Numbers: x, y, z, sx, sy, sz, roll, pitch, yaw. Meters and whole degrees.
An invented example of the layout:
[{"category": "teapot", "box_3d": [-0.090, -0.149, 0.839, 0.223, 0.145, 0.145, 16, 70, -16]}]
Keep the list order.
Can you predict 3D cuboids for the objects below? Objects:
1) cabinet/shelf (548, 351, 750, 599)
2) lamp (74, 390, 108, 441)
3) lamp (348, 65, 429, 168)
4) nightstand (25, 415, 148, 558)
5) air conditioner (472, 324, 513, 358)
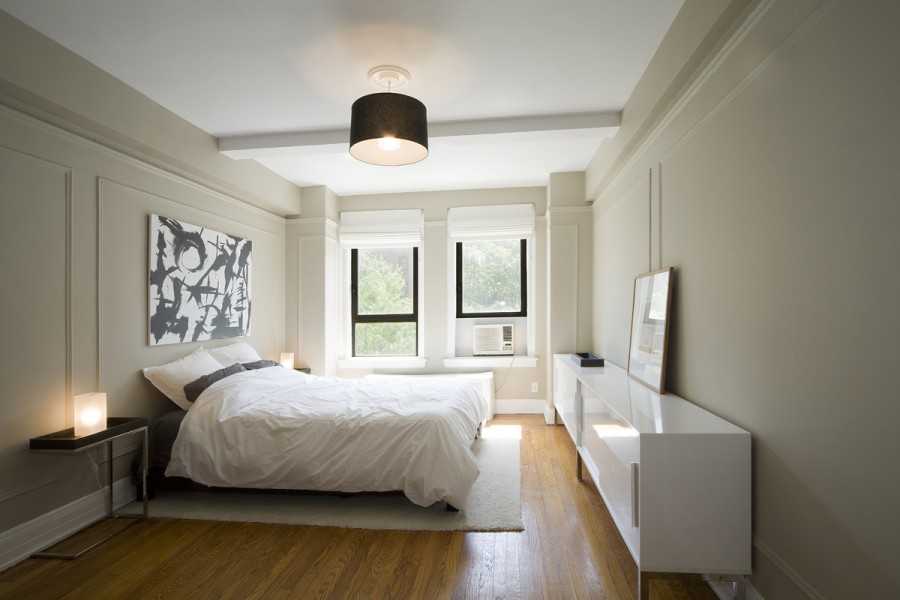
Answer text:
[{"category": "cabinet/shelf", "box_3d": [1.314, 1.121, 3.828, 0.673, 1.038, 1.569, -3, 14, -7]}, {"category": "lamp", "box_3d": [-2.585, 0.809, 4.032, 0.220, 0.273, 0.311, -11, 17, -35]}, {"category": "lamp", "box_3d": [-0.446, -1.393, 4.404, 0.605, 0.706, 0.647, 0, -10, -3]}, {"category": "nightstand", "box_3d": [-2.680, 1.369, 4.091, 0.361, 0.885, 0.899, -1, -3, 5]}, {"category": "air conditioner", "box_3d": [0.548, 0.518, 7.052, 0.596, 0.448, 0.334, -1, -6, 4]}]
